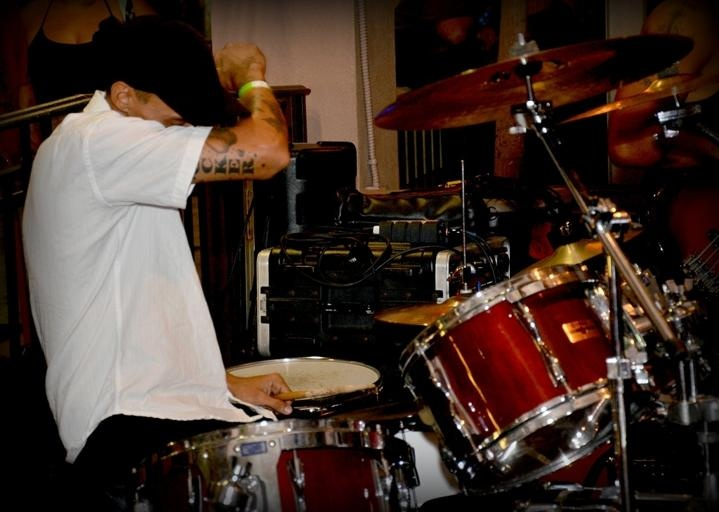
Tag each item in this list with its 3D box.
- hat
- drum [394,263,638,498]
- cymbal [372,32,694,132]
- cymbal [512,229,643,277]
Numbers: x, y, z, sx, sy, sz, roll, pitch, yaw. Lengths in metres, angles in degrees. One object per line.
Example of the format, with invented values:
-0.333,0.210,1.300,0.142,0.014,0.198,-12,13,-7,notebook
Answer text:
-0.604,-0.660,2.400,0.407,0.209,0.304,18,25,-15,hat
0.559,0.511,2.705,0.691,0.455,0.780,-29,-25,0,drum
0.635,-0.644,2.745,1.051,0.082,1.000,-6,-4,-43,cymbal
1.055,0.022,3.349,0.390,0.077,0.371,-25,0,-16,cymbal
